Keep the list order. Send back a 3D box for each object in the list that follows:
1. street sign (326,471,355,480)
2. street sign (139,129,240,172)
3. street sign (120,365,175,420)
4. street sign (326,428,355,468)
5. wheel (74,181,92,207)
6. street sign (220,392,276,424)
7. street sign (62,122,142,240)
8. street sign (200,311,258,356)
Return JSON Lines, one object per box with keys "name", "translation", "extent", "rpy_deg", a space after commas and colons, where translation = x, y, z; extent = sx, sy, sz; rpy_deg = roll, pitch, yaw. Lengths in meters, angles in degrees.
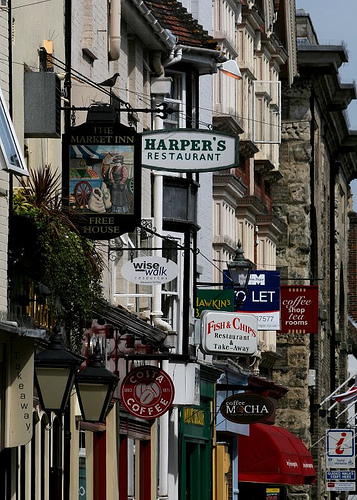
{"name": "street sign", "translation": [4.357, 6.067, 53.741], "extent": [0.743, 0.239, 0.519], "rpy_deg": [-1, -7, 3]}
{"name": "street sign", "translation": [0.145, -1.351, 27.365], "extent": [1.396, 0.631, 0.423], "rpy_deg": [-2, -6, 14]}
{"name": "street sign", "translation": [-0.490, 2.068, 29.104], "extent": [0.807, 0.743, 0.484], "rpy_deg": [1, -6, -8]}
{"name": "street sign", "translation": [4.358, 5.330, 53.723], "extent": [0.761, 1.051, 1.038], "rpy_deg": [-1, -7, 4]}
{"name": "wheel", "translation": [-1.270, -0.701, 25.551], "extent": [0.230, 0.341, 0.134], "rpy_deg": [3, -7, -26]}
{"name": "street sign", "translation": [1.299, 3.071, 38.993], "extent": [1.101, 0.101, 0.866], "rpy_deg": [0, -49, -3]}
{"name": "street sign", "translation": [-1.022, -0.892, 25.591], "extent": [0.735, 1.799, 0.705], "rpy_deg": [1, -5, -1]}
{"name": "street sign", "translation": [0.884, 1.516, 35.911], "extent": [1.148, 0.768, 0.535], "rpy_deg": [2, -6, -14]}
